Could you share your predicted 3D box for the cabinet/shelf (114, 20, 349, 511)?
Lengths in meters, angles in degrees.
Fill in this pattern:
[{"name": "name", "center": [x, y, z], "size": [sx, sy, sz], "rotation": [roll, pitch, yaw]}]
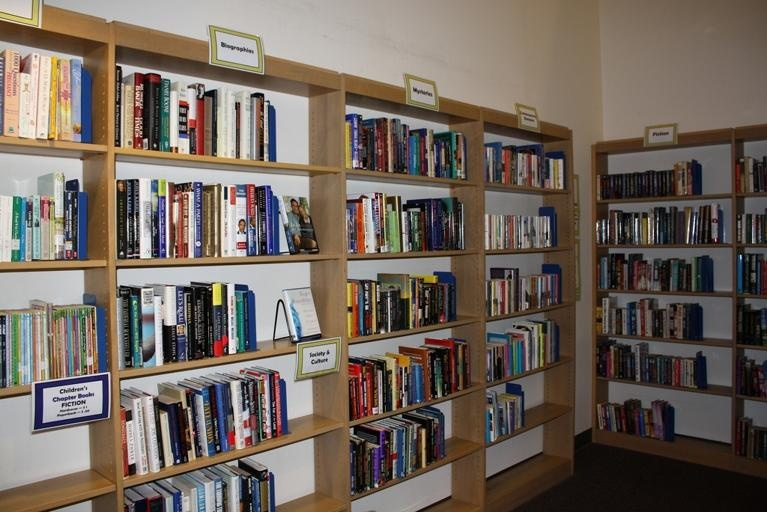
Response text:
[{"name": "cabinet/shelf", "center": [-0.647, 0.192, 3.618], "size": [1.230, 2.769, 0.456], "rotation": [-6, 5, -38]}]
